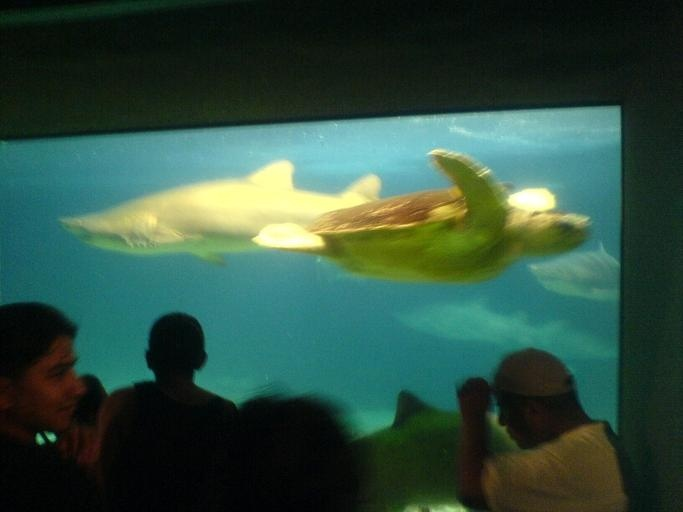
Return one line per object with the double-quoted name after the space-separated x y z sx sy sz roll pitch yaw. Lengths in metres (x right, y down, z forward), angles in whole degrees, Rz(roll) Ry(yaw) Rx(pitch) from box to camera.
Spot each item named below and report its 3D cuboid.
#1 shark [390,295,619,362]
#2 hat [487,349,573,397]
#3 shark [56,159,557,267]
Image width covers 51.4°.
0.897 0.407 3.977 1.179 0.159 0.364 9 -35 -4 "shark"
0.998 0.605 3.695 0.415 0.224 0.144 1 -1 10 "hat"
-0.194 -0.248 4.515 3.579 0.681 0.907 -3 6 6 "shark"
